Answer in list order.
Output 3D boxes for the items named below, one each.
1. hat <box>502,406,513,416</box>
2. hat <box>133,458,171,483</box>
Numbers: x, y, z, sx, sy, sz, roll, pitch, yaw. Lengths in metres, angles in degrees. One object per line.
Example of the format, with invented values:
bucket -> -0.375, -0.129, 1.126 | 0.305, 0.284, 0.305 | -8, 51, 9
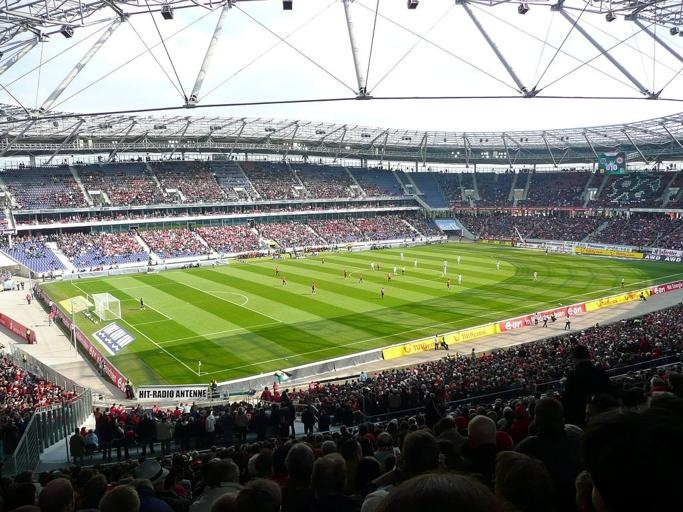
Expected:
hat -> 3.328, 3.071, 12.384 | 0.242, 0.208, 0.282 | 1, -9, 14
hat -> -2.969, 3.312, 9.628 | 0.442, 0.135, 0.361 | -2, 2, 35
